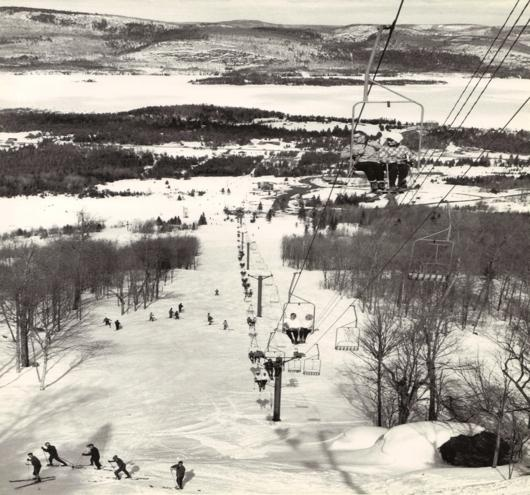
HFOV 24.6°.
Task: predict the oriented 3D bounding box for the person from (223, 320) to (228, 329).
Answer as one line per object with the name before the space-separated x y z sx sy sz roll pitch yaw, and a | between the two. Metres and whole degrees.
person | -5.641 10.633 170.447 0.679 1.226 2.369 1 21 -3

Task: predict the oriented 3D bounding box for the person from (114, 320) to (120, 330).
person | -20.710 10.894 169.646 0.857 0.697 2.105 3 49 -6

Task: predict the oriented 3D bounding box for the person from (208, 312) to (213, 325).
person | -7.884 9.909 171.952 0.816 1.393 3.052 1 21 -3

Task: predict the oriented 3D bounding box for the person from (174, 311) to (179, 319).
person | -12.568 9.532 172.466 0.636 1.319 0.825 6 37 -4
